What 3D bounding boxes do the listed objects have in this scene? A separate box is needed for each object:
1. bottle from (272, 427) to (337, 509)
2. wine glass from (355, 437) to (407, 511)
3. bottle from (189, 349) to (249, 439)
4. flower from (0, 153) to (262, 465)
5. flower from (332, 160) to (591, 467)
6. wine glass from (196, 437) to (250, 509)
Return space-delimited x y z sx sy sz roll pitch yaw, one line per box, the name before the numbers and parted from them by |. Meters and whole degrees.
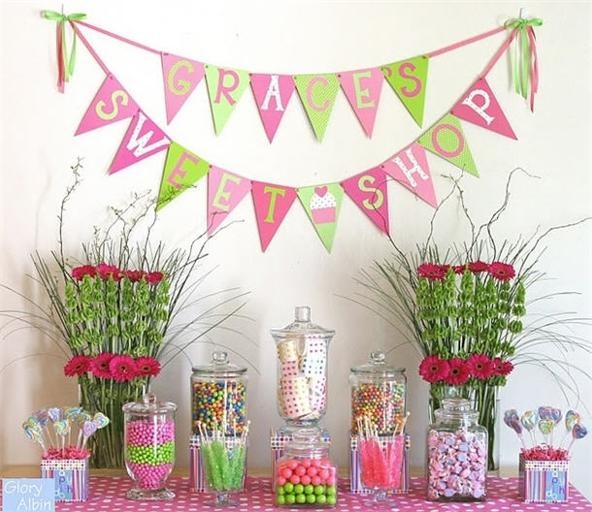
bottle | 0.026 0.602 1.789 0.161 0.270 0.182 2 -14 -5
wine glass | 0.238 0.616 1.808 0.149 0.274 0.160 1 -11 -7
bottle | -0.235 0.416 1.915 0.163 0.351 0.182 1 -7 -7
flower | -0.554 0.196 2.471 0.878 1.111 0.815 0 -2 10
flower | 0.531 0.230 2.450 0.775 1.055 0.944 1 -7 -5
wine glass | -0.204 0.612 1.810 0.154 0.253 0.159 0 -13 -4
